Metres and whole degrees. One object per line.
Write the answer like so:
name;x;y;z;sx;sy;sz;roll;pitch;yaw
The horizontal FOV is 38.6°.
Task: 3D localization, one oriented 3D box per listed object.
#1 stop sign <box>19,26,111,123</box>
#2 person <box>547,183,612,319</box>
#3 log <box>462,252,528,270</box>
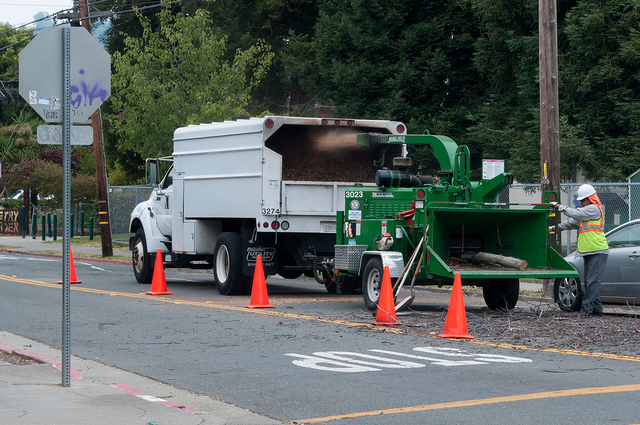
stop sign;-3.770;-2.076;13.619;1.287;1.433;0.437;-2;5;-17
person;5.453;0.785;19.276;1.400;2.597;0.956;3;-9;14
log;3.729;0.933;19.441;0.366;0.342;1.540;39;-23;-33
